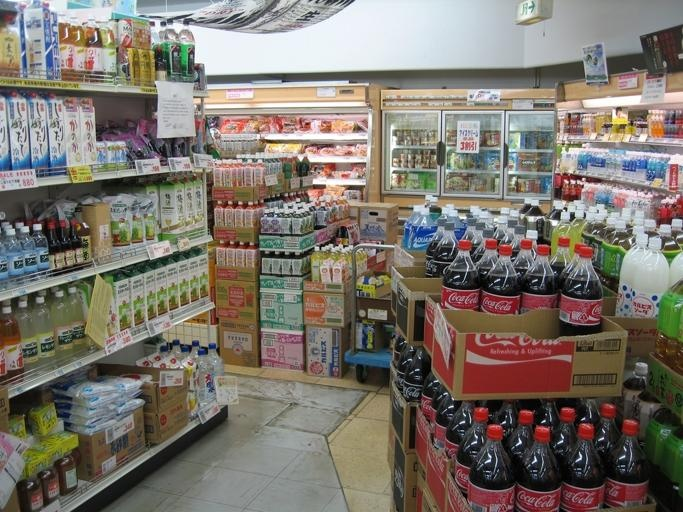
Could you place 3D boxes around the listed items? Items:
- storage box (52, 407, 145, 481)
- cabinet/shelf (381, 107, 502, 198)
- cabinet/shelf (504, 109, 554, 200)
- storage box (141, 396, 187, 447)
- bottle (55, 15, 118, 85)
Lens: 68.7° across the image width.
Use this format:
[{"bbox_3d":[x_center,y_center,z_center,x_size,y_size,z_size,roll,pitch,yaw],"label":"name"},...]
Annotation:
[{"bbox_3d":[-1.607,1.130,3.347,0.279,0.362,0.543,2,8,20],"label":"storage box"},{"bbox_3d":[1.740,-1.767,8.348,1.759,1.355,0.710,2,5,13],"label":"cabinet/shelf"},{"bbox_3d":[3.059,-1.656,8.120,0.783,1.406,0.678,5,12,21],"label":"cabinet/shelf"},{"bbox_3d":[-1.292,1.204,3.711,0.234,0.288,0.427,1,5,16],"label":"storage box"},{"bbox_3d":[-1.547,-1.270,3.045,0.129,0.393,0.425,4,13,16],"label":"bottle"}]
